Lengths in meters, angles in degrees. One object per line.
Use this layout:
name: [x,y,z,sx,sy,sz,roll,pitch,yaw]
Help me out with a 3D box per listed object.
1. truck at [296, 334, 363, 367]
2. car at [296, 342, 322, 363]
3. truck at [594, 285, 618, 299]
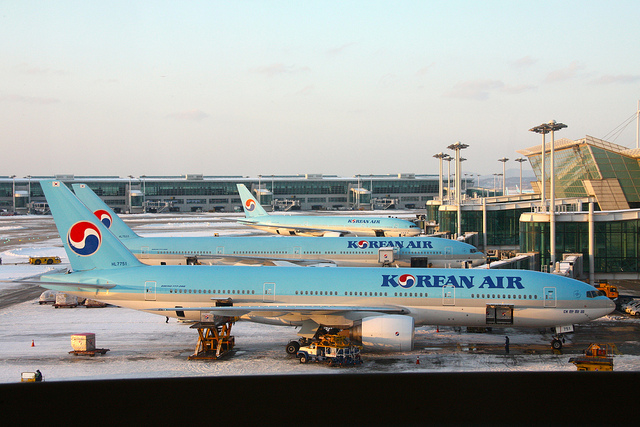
truck: [0.825,8.901,75.838,4.068,1.483,1.993,2,-4,21]
car: [-0.698,9.031,75.901,1.994,0.750,1.012,1,-2,-3]
truck: [20.948,5.717,84.790,2.008,0.797,1.137,0,3,10]
